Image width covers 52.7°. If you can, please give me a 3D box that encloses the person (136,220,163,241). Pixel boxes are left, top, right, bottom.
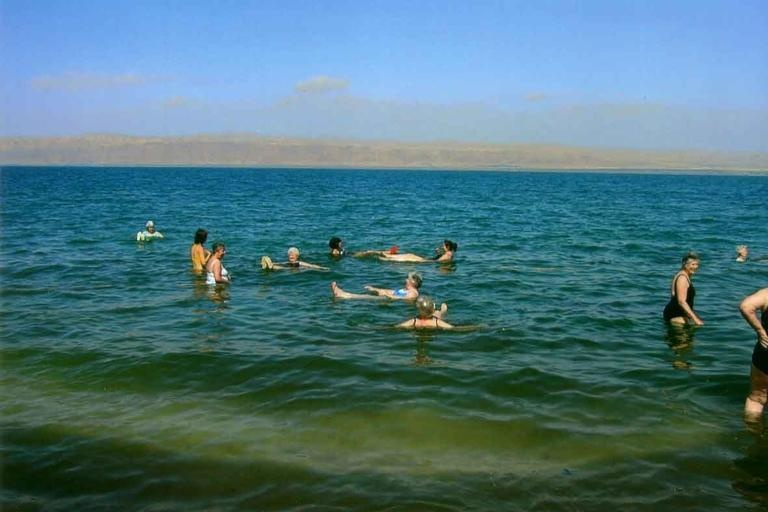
[{"bbox_3d":[-12.485,-1.336,41.507,0.618,1.560,1.290,5,12,28],"label":"person"}]

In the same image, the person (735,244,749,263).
[{"bbox_3d":[16.171,-0.120,35.090,0.531,0.637,1.696,8,16,24],"label":"person"}]

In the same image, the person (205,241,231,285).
[{"bbox_3d":[-6.244,0.233,29.043,0.834,1.606,0.951,-4,16,-14],"label":"person"}]

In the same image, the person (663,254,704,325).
[{"bbox_3d":[10.306,1.222,26.683,0.995,2.299,1.212,-3,43,16],"label":"person"}]

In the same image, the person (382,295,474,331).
[{"bbox_3d":[1.459,1.965,24.925,1.874,0.661,1.410,1,9,7],"label":"person"}]

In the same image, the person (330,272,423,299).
[{"bbox_3d":[-0.088,1.101,27.859,3.516,1.040,1.130,0,1,8],"label":"person"}]
